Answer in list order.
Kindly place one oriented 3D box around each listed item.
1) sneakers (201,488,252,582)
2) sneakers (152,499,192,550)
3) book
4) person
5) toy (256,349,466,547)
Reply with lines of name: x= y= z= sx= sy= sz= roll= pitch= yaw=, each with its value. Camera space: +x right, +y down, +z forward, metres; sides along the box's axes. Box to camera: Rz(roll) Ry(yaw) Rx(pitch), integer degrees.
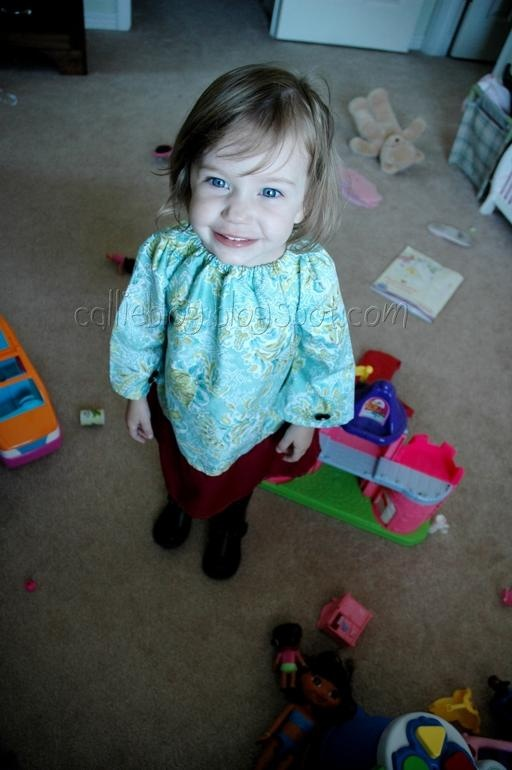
sneakers: x=-0.046 y=0.282 z=1.294 sx=0.075 sy=0.091 sz=0.232 roll=5 pitch=60 yaw=6
sneakers: x=-0.183 y=0.306 z=1.326 sx=0.053 sy=0.038 sz=0.134 roll=-4 pitch=72 yaw=2
book: x=0.533 y=-0.338 z=2.014 sx=0.230 sy=0.021 sz=0.322 roll=30 pitch=53 yaw=14
person: x=-0.033 y=0.001 z=1.031 sx=0.387 sy=0.959 sz=0.325 roll=10 pitch=52 yaw=-2
toy: x=0.217 y=0.169 z=1.478 sx=0.451 sy=0.215 sz=0.336 roll=22 pitch=49 yaw=20
